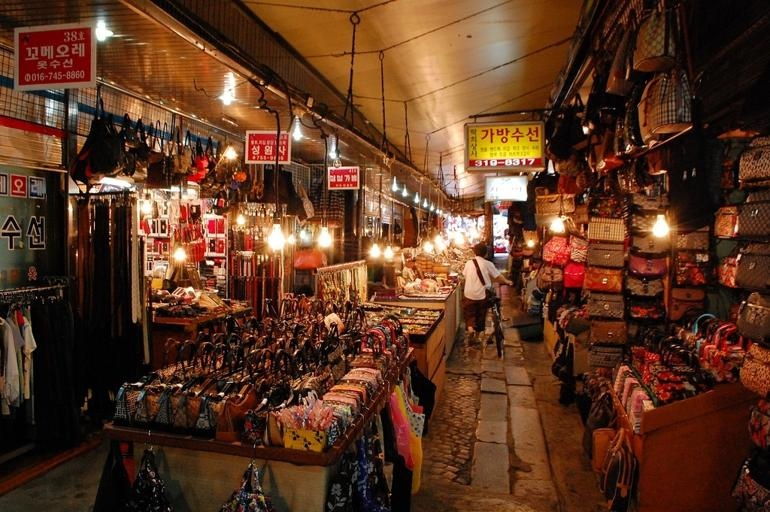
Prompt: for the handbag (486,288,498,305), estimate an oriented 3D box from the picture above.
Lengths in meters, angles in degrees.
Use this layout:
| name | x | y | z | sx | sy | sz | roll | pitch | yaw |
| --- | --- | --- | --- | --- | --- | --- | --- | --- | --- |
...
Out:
| name | x | y | z | sx | sy | sz | roll | pitch | yaw |
| --- | --- | --- | --- | --- | --- | --- | --- | --- | --- |
| handbag | 2.018 | 0.771 | 10.753 | 0.258 | 0.401 | 0.198 | -4 | -9 | 7 |
